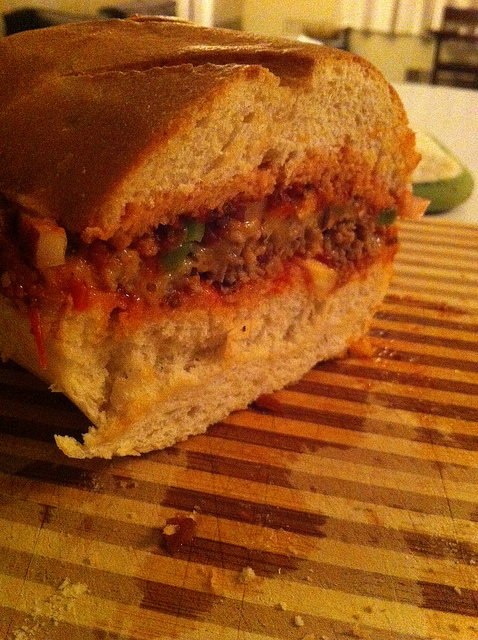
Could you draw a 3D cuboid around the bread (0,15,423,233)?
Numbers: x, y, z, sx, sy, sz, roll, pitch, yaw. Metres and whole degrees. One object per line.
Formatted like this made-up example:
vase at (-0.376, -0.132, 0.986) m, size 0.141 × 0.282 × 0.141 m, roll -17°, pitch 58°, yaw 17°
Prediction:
bread at (-0.198, -0.528, 1.842) m, size 1.038 × 0.501 × 0.794 m, roll -26°, pitch 45°, yaw -31°
